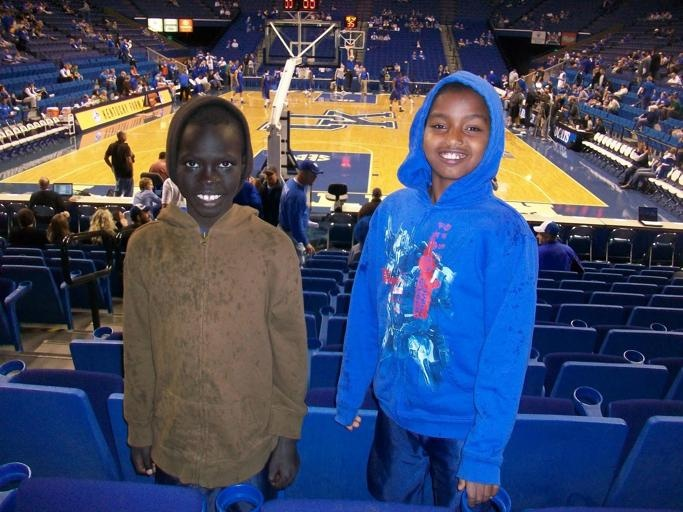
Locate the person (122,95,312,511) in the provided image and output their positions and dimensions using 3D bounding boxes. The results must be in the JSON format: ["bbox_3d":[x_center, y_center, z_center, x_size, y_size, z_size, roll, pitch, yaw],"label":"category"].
[{"bbox_3d":[-0.502,0.189,2.263,0.696,1.559,0.534,-5,19,-23],"label":"person"}]

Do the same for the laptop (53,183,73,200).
[{"bbox_3d":[-5.079,-1.185,10.609,0.330,0.315,0.254,-6,24,-33],"label":"laptop"}]

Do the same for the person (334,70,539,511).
[{"bbox_3d":[0.387,0.160,2.409,0.790,1.783,0.647,9,18,21],"label":"person"}]

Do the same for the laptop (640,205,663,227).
[{"bbox_3d":[5.565,-0.740,10.525,0.367,0.280,0.385,4,15,10],"label":"laptop"}]
